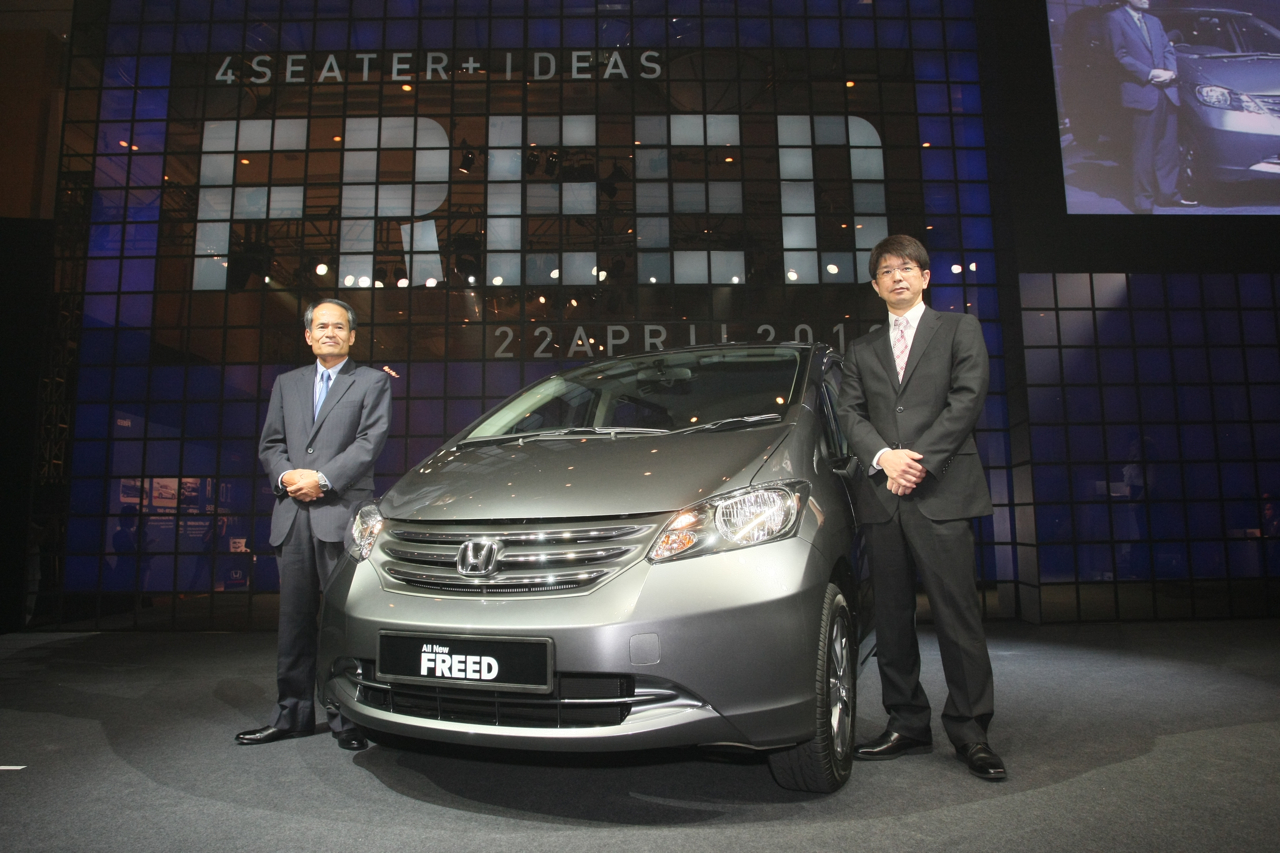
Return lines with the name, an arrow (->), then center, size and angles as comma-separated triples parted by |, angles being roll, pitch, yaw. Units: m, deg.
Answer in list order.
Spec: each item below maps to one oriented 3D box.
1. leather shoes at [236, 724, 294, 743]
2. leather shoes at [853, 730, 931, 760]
leather shoes -> -3.060, 2.472, 7.471 | 0.439, 0.158, 0.182 | 5, -9, -11
leather shoes -> 1.938, 2.428, 7.181 | 0.671, 0.271, 0.234 | 2, -7, -9
